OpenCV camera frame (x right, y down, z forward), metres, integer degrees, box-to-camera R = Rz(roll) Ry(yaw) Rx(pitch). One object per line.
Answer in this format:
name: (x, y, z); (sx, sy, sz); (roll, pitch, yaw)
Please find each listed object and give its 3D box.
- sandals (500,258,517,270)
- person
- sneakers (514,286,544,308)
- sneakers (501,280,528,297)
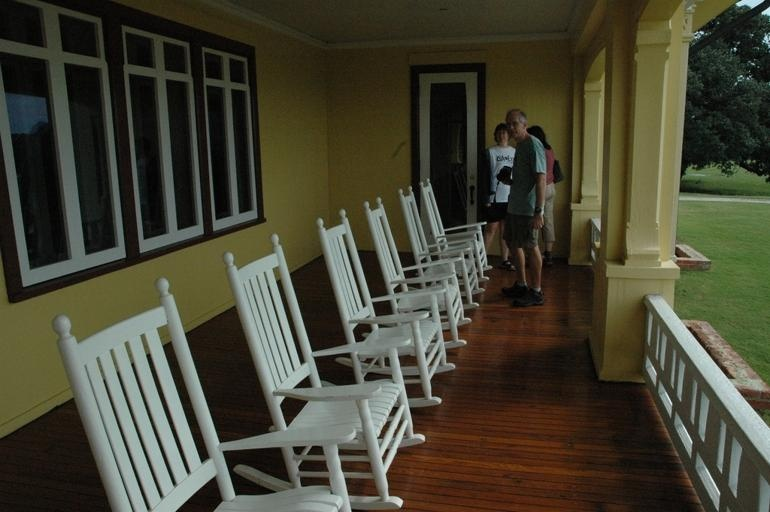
sandals: (1.688, 0.121, 7.812); (0.137, 0.110, 0.256); (-3, -1, -10)
person: (1.532, -0.486, 6.053); (0.397, 2.121, 0.624); (-6, 14, -13)
sneakers: (1.627, 0.474, 6.331); (0.349, 0.165, 0.163); (-3, 5, -15)
sneakers: (1.497, 0.386, 6.550); (0.130, 0.158, 0.351); (-7, 2, -26)
